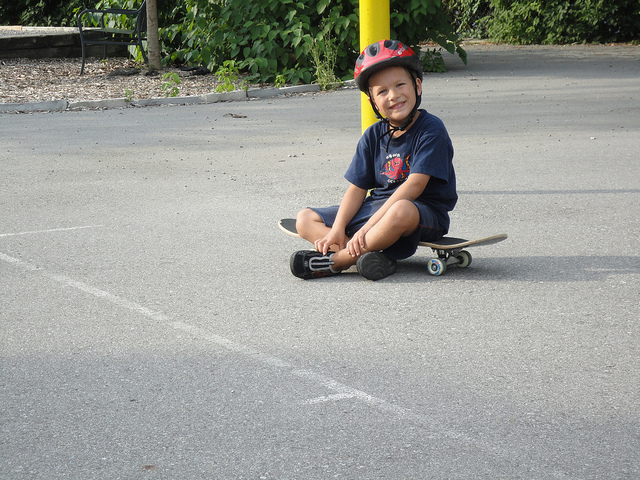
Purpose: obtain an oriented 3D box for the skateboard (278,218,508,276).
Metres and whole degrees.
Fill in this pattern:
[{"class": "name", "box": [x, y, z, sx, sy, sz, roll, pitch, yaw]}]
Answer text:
[{"class": "skateboard", "box": [0.431, -0.011, 4.838, 1.716, 0.214, 0.418, 2, 6, 23]}]
